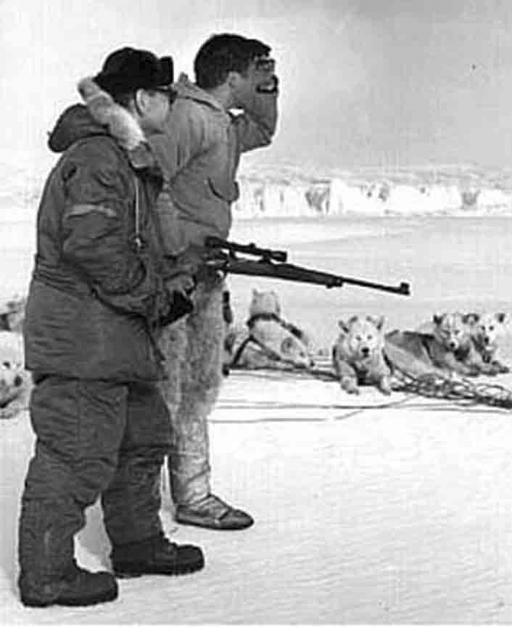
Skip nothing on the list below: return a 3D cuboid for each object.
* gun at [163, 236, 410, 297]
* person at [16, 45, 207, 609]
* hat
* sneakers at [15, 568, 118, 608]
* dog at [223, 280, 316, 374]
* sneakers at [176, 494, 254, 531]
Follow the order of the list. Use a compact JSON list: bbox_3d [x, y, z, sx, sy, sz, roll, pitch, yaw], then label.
[{"bbox_3d":[0.081,-0.134,3.442,0.646,0.148,0.059,14,-3,-31],"label":"gun"},{"bbox_3d":[-0.334,0.017,2.699,0.299,1.147,0.485,13,15,41],"label":"person"},{"bbox_3d":[-0.265,-0.535,2.789,0.180,0.115,0.113,-8,13,-11],"label":"hat"},{"bbox_3d":[-0.389,0.557,2.605,0.187,0.126,0.082,-2,-1,-19],"label":"sneakers"},{"bbox_3d":[0.041,0.057,3.872,0.126,0.235,0.434,-3,-19,13],"label":"dog"},{"bbox_3d":[-0.111,0.496,3.158,0.157,0.068,0.089,0,-5,11],"label":"sneakers"}]
